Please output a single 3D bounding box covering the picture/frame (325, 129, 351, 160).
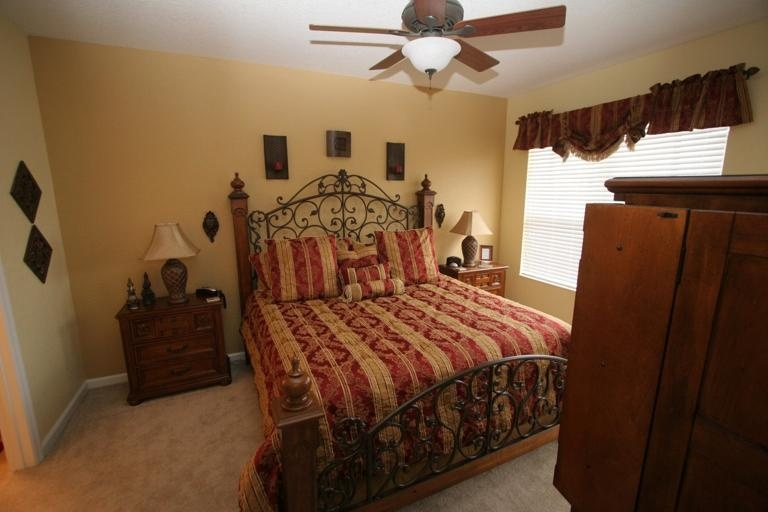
[{"bbox_3d":[-0.471,-1.144,5.215,0.289,0.270,0.145,-4,10,-33],"label":"picture/frame"}]

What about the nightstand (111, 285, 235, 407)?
[{"bbox_3d":[-1.906,0.777,4.747,0.870,0.848,0.642,-8,19,-26],"label":"nightstand"}]

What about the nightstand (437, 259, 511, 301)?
[{"bbox_3d":[1.063,0.207,5.823,0.638,0.606,0.382,-9,14,-38],"label":"nightstand"}]

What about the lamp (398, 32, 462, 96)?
[{"bbox_3d":[0.326,-1.365,3.615,0.324,0.213,0.326,-1,-21,0],"label":"lamp"}]
